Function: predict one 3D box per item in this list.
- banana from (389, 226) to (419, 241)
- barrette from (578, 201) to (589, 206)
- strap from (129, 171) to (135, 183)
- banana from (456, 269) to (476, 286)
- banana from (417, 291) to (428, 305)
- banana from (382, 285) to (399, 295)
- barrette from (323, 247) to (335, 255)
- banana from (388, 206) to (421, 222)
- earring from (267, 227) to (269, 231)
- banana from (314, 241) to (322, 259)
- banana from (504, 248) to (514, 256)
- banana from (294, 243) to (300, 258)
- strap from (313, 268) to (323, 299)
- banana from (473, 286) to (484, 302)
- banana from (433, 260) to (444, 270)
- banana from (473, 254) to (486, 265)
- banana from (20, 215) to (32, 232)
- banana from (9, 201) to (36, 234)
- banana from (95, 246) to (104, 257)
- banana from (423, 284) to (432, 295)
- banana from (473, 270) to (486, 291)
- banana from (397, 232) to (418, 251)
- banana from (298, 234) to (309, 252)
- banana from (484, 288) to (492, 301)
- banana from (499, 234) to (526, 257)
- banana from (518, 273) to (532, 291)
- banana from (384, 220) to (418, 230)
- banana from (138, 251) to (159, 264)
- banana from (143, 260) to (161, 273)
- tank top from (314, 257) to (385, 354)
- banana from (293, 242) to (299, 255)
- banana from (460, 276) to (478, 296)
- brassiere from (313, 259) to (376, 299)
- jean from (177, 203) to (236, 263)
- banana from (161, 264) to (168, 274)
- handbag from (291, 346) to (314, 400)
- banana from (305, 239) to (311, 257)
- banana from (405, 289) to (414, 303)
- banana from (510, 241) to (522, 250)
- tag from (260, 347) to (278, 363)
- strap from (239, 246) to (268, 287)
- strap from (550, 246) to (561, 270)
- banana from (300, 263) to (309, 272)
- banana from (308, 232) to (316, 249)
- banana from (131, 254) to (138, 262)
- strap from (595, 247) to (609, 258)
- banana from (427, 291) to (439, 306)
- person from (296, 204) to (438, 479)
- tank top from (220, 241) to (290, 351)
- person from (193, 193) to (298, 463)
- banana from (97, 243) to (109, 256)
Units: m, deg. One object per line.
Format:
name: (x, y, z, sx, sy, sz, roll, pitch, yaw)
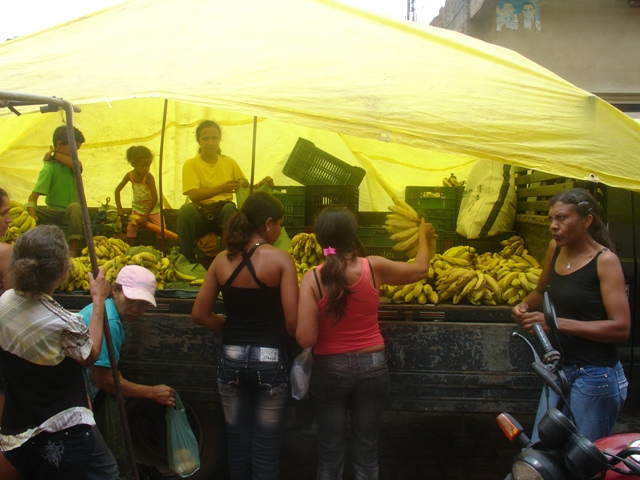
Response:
banana: (0.843, -0.068, 4.998, 0.179, 0.043, 0.072, -23, 42, 6)
barrette: (1.884, -0.262, 3.598, 0.078, 0.031, 0.020, -3, 16, -24)
strap: (-2.484, -0.833, 6.635, 0.031, 0.138, 0.096, -8, -2, 10)
banana: (1.330, 0.340, 4.635, 0.074, 0.110, 0.282, -10, 5, 44)
banana: (0.926, 0.529, 4.545, 0.081, 0.103, 0.176, 8, 15, 15)
banana: (0.666, 0.473, 4.792, 0.096, 0.044, 0.391, -10, 1, -5)
barrette: (0.065, 0.078, 3.683, 0.051, 0.056, 0.024, -2, -7, 17)
banana: (0.852, -0.266, 5.123, 0.313, 0.110, 0.066, 25, 15, -6)
earring: (-0.390, -0.082, 3.795, 0.010, 0.021, 0.006, 0, 15, -15)
banana: (-0.018, 0.102, 5.132, 0.068, 0.188, 0.146, 2, 15, -5)
banana: (2.091, 0.130, 5.566, 0.125, 0.080, 0.030, -7, 17, -34)
banana: (-0.237, 0.110, 5.220, 0.034, 0.131, 0.036, 10, 6, 0)
strap: (-0.024, 0.297, 3.628, 0.032, 0.316, 0.033, -8, -8, -10)
banana: (1.430, 0.483, 4.531, 0.052, 0.124, 0.129, 14, 18, 37)
banana: (1.149, 0.238, 4.882, 0.100, 0.060, 0.112, 6, 15, 8)
banana: (1.692, 0.192, 5.305, 0.083, 0.116, 0.268, 4, 8, 32)
banana: (-3.363, -0.184, 5.759, 0.054, 0.210, 0.064, 32, -28, -16)
banana: (-3.263, -0.240, 5.515, 0.329, 0.110, 0.236, 48, 11, 13)
banana: (-2.451, 0.109, 5.604, 0.081, 0.058, 0.174, -17, 45, -29)
banana: (0.979, 0.448, 4.575, 0.059, 0.059, 0.081, -2, 48, 19)
banana: (1.459, 0.359, 4.602, 0.072, 0.058, 0.212, 5, 27, 7)
banana: (0.875, 0.016, 4.976, 0.082, 0.158, 0.380, 39, 21, 8)
banana: (-0.171, 0.028, 5.254, 0.040, 0.165, 0.104, 22, -21, -32)
banana: (1.524, 0.486, 4.564, 0.067, 0.097, 0.082, 9, 16, 21)
banana: (2.171, 0.067, 5.679, 0.190, 0.133, 0.362, 45, 13, 17)
banana: (1.876, 0.377, 4.661, 0.067, 0.058, 0.211, 24, 22, -15)
banana: (0.824, -0.156, 5.024, 0.235, 0.090, 0.055, 4, -26, 5)
banana: (-1.863, 0.190, 5.489, 0.206, 0.113, 0.072, 13, -17, -4)
banana: (-1.728, 0.271, 5.162, 0.150, 0.035, 0.050, 39, 26, -6)
tank top: (0.195, 0.473, 3.638, 0.593, 0.824, 0.435, -4, 4, -6)
banana: (-0.249, 0.098, 5.247, 0.054, 0.110, 0.035, 11, 2, -12)
banana: (1.348, 0.416, 4.579, 0.071, 0.091, 0.258, 30, 45, 18)
brassiere: (0.179, 0.279, 3.672, 0.459, 0.253, 0.132, 0, 15, -15)
jean: (-1.339, -0.043, 6.210, 0.737, 0.962, 0.686, -2, -10, -9)
banana: (-1.680, 0.310, 5.424, 0.045, 0.092, 0.036, 12, -2, 6)
handbag: (-0.115, 0.960, 3.714, 0.119, 0.387, 0.220, 15, 18, 39)
banana: (-0.120, 0.093, 5.173, 0.066, 0.136, 0.030, 0, 6, 38)
banana: (0.808, 0.506, 4.578, 0.113, 0.041, 0.036, -44, 35, -13)
banana: (2.200, 0.061, 5.655, 0.060, 0.085, 0.224, 8, 9, 37)
tag: (-0.373, 0.837, 3.675, 0.129, 0.102, 0.032, 1, 14, -10)
strap: (-0.505, 0.189, 3.651, 0.068, 0.302, 0.158, -27, 9, -6)
strap: (1.775, 0.135, 3.803, 0.050, 0.147, 0.101, 12, -3, 44)
banana: (-0.158, 0.271, 5.106, 0.065, 0.075, 0.019, 5, 43, -27)
banana: (-0.073, 0.005, 5.225, 0.084, 0.122, 0.042, 4, -3, -6)
banana: (-1.993, 0.189, 5.414, 0.058, 0.078, 0.032, -10, -22, 29)
strap: (1.982, 0.089, 3.546, 0.106, 0.058, 0.044, -4, 17, -29)
banana: (1.025, 0.521, 4.561, 0.097, 0.106, 0.082, 6, 15, 9)
person: (0.261, 0.782, 3.771, 0.836, 1.952, 0.660, 6, 14, 10)
tank top: (-0.481, 0.365, 3.861, 0.446, 0.808, 0.557, 2, 10, -4)
person: (-0.512, 0.675, 3.802, 0.523, 1.966, 0.791, -8, 18, -38)
banana: (-2.417, 0.087, 5.643, 0.084, 0.039, 0.147, -2, 51, -52)
